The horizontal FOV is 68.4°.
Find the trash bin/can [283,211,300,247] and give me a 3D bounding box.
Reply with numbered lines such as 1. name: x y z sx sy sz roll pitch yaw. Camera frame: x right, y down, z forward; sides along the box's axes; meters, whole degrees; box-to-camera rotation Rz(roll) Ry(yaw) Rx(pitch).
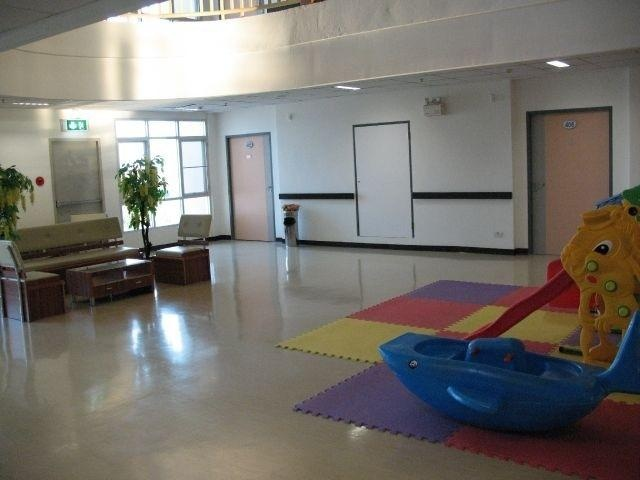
1. trash bin/can: -0.746 -0.279 12.219 0.340 0.907 0.365 -4 10 -2
